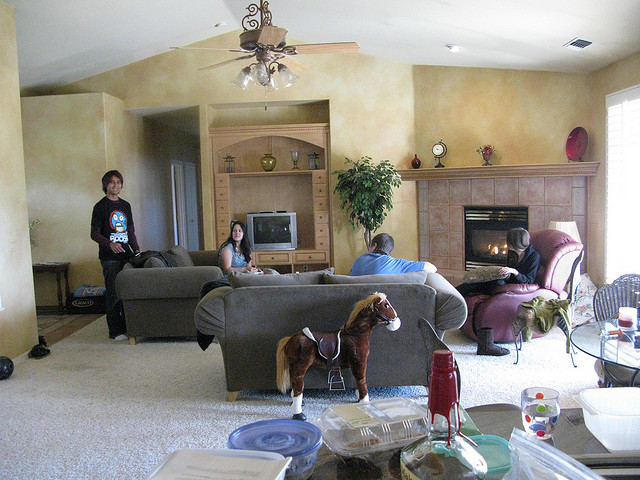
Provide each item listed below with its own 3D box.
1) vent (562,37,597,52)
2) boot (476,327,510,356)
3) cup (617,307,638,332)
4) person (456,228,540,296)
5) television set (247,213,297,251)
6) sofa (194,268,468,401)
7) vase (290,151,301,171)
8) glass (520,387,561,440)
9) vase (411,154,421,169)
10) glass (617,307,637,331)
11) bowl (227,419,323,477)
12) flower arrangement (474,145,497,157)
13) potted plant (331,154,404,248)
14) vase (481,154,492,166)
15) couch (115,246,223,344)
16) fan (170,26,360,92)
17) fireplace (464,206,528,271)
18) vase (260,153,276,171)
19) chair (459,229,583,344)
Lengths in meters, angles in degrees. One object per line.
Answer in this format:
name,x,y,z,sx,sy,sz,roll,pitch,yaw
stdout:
vent,2.892,-2.169,5.490,0.269,0.058,0.393,-2,8,-1
boot,1.548,0.932,4.445,0.347,0.273,0.157,-2,2,-6
cup,1.911,0.498,3.063,0.130,0.146,0.132,-1,-1,0
person,1.763,0.218,5.040,0.774,0.817,0.621,1,3,6
television set,-0.704,-0.111,7.638,0.859,0.777,0.522,0,-1,-1
sofa,0.087,0.709,4.052,2.078,1.054,0.953,-2,3,2
vase,-0.372,-1.230,7.750,0.158,0.307,0.309,-2,8,-1
glass,0.711,0.553,1.613,0.145,0.167,0.148,-1,1,1
vase,1.431,-1.154,7.329,0.137,0.215,0.180,0,8,12
glass,1.911,0.496,3.064,0.124,0.141,0.124,2,-1,-14
bowl,-0.123,0.608,1.469,0.263,0.095,0.172,1,8,22
flower arrangement,2.396,-1.248,7.010,0.183,0.091,0.182,2,-3,-38
potted plant,0.692,-0.333,7.179,0.928,1.475,0.807,-1,6,-1
vase,2.362,-1.116,6.963,0.141,0.155,0.143,5,14,42
couch,-1.546,0.814,5.226,0.791,0.684,1.378,-2,13,-7
fan,-0.366,-1.455,3.966,0.769,0.277,0.818,-4,4,-32
fireplace,2.514,-0.028,7.055,0.776,1.116,0.371,7,20,28
vase,-0.789,-1.191,7.670,0.231,0.261,0.229,-1,-3,-2
chair,1.985,0.431,5.032,1.228,0.982,1.204,0,7,24
